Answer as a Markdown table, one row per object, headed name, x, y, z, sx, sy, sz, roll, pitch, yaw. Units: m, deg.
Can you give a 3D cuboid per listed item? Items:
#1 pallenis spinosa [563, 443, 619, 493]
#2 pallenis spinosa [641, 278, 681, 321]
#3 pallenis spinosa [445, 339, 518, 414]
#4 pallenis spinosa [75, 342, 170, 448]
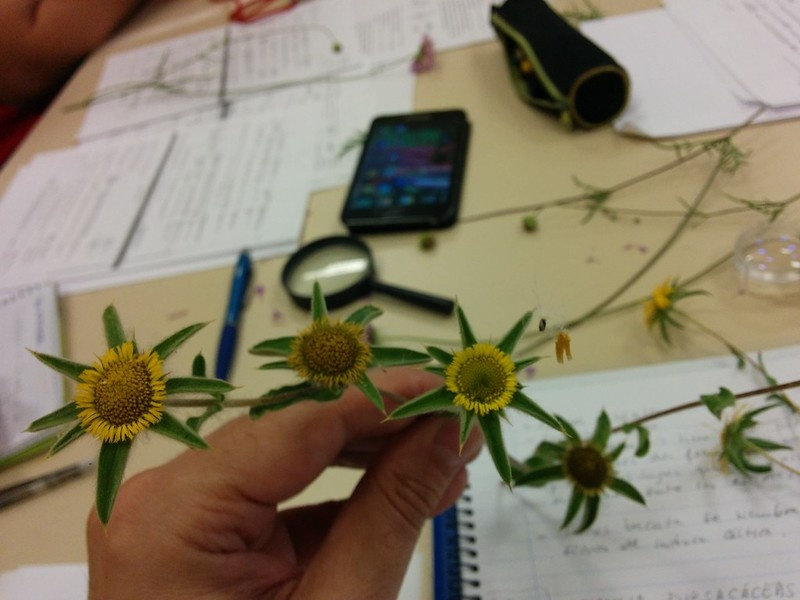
| name | x | y | z | sx | sy | sz | roll | pitch | yaw |
| --- | --- | --- | --- | --- | --- | --- | --- | --- | --- |
| pallenis spinosa | 0.277 | 0.247 | 1.006 | 0.070 | 0.035 | 0.068 | -2 | 65 | 2 |
| pallenis spinosa | 0.400 | 0.004 | 1.052 | 0.023 | 0.055 | 0.059 | 22 | 71 | -23 |
| pallenis spinosa | 0.100 | 0.096 | 0.837 | 0.087 | 0.022 | 0.084 | 28 | 70 | 15 |
| pallenis spinosa | -0.340 | 0.112 | 0.834 | 0.114 | 0.042 | 0.113 | -7 | 65 | 0 |
